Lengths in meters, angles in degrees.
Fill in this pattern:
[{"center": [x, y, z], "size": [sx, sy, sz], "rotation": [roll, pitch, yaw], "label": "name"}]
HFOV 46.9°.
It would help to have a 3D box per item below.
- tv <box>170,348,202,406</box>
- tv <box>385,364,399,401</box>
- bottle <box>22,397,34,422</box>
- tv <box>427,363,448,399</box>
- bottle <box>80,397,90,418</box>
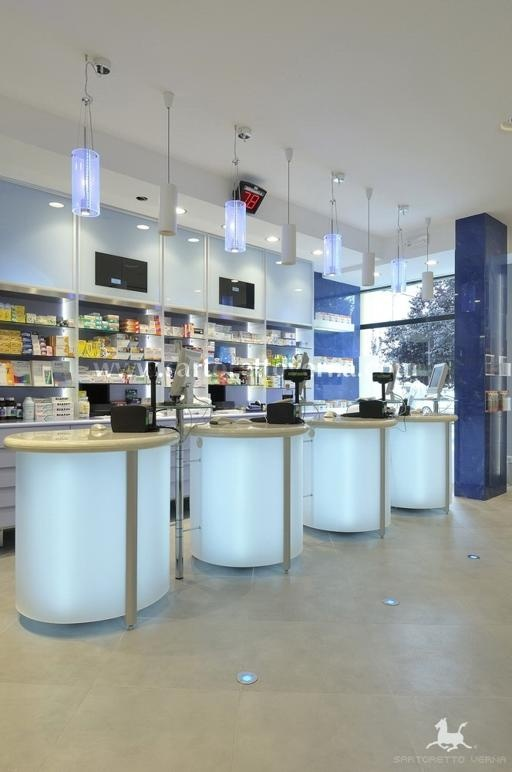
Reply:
[{"center": [-0.462, -0.078, 3.828], "size": [0.178, 0.349, 0.555], "rotation": [0, 2, -7], "label": "tv"}, {"center": [1.393, -0.046, 6.064], "size": [0.137, 0.446, 0.417], "rotation": [-1, -5, 7], "label": "tv"}, {"center": [-1.847, 0.183, 4.799], "size": [0.088, 0.176, 0.187], "rotation": [-1, 2, -23], "label": "bottle"}, {"center": [1.909, -0.050, 6.202], "size": [0.111, 0.308, 0.338], "rotation": [16, -15, 0], "label": "tv"}, {"center": [-1.513, 0.194, 5.178], "size": [0.082, 0.163, 0.078], "rotation": [0, 2, 0], "label": "bottle"}]
